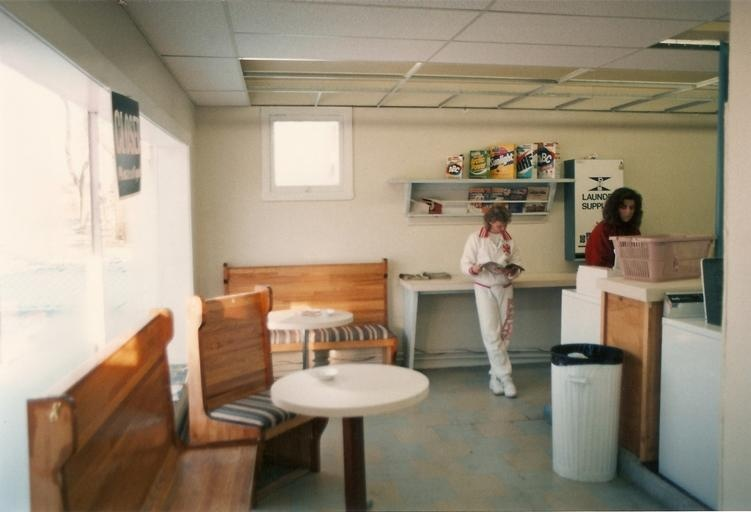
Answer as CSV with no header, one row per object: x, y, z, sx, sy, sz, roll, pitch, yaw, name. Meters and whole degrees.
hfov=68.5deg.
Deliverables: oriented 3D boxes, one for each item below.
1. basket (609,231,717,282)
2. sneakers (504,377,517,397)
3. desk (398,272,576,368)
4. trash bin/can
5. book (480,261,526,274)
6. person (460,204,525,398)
2.357,-0.002,4.485,0.631,0.228,0.399,-4,6,-24,basket
1.417,1.391,5.827,0.154,0.212,0.141,1,10,11,sneakers
1.386,0.684,6.913,2.165,0.956,0.806,0,18,-9,desk
1.649,1.224,4.353,0.534,0.985,0.463,3,10,22,trash bin/can
1.344,0.125,5.840,0.431,0.124,0.182,1,9,9,book
1.314,0.463,6.000,0.710,2.030,0.576,6,12,36,person
